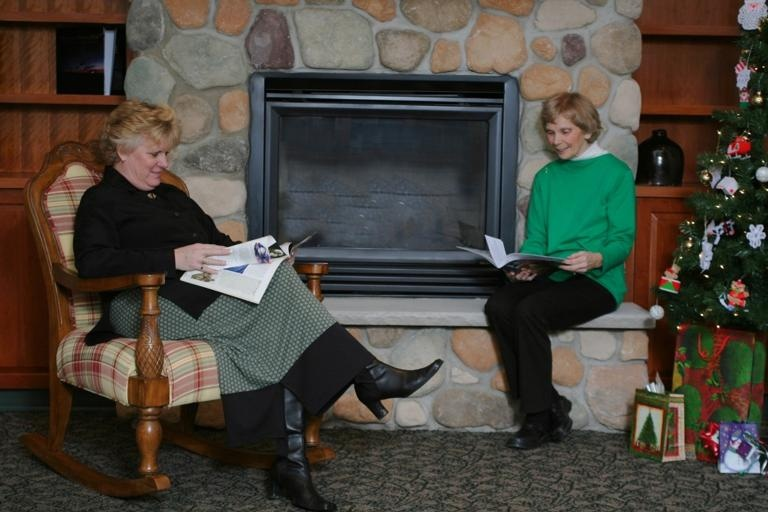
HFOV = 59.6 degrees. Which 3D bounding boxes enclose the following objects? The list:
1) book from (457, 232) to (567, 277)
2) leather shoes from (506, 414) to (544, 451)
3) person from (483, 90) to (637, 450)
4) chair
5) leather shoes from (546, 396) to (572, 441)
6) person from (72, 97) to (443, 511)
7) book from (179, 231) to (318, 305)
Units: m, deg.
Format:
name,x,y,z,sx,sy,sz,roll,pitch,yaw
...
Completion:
name,x,y,z,sx,sy,sz,roll,pitch,yaw
book,0.590,0.006,2.865,0.359,0.155,0.213,7,13,30
leather shoes,0.627,0.752,2.870,0.188,0.146,0.057,-3,11,-18
person,0.745,0.023,3.016,0.705,1.518,0.537,-10,15,-44
chair,-0.898,0.210,2.733,1.083,1.269,0.894,2,2,22
leather shoes,0.808,0.693,2.977,0.075,0.210,0.217,6,12,25
person,-0.575,0.154,2.500,1.179,1.442,0.571,7,12,28
book,-0.544,0.049,2.502,0.288,0.111,0.313,-1,25,28
